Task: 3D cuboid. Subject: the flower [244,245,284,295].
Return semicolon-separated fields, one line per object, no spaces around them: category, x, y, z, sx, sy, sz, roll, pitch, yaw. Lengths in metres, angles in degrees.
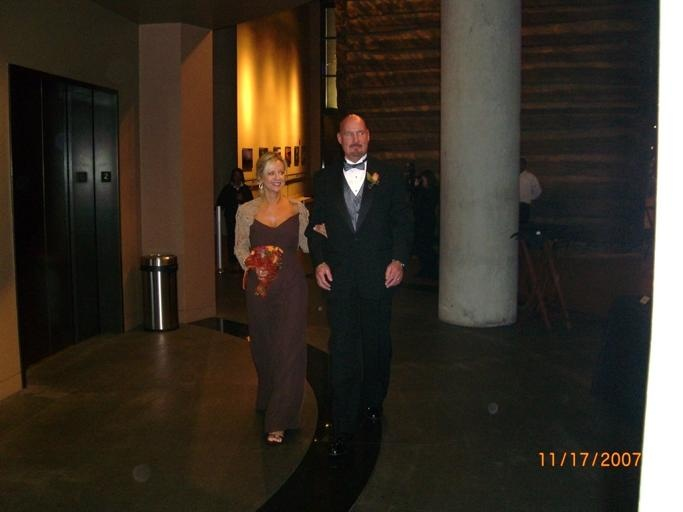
flower;-0.575;0.096;4.336;0.314;0.413;0.103;-15;-23;23

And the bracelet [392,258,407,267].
bracelet;0.380;0.047;3.936;0.066;0.072;0.068;-1;-3;2

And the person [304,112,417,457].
person;0.131;0.152;4.097;0.639;2.164;0.515;-4;7;-22

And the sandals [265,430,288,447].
sandals;-0.454;1.232;4.056;0.059;0.078;0.180;8;-28;12

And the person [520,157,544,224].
person;2.610;-0.916;8.387;0.264;0.919;0.668;1;7;18

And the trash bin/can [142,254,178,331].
trash bin/can;-2.188;0.441;7.249;0.412;0.904;0.251;-4;7;-21
